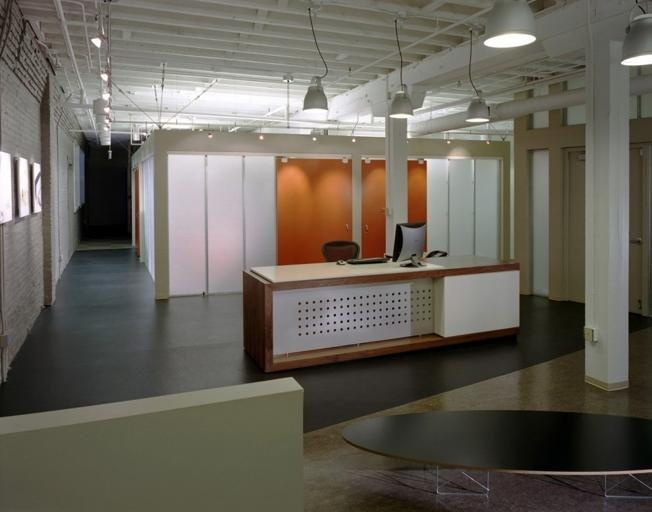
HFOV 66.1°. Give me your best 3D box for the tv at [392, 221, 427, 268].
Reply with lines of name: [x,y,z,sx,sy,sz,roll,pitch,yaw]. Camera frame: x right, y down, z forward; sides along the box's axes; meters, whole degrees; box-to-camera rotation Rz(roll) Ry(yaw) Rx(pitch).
tv: [1.077,-0.129,6.533,0.564,0.543,0.210,-5,14,-35]

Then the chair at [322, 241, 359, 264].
chair: [0.225,-0.101,7.878,0.379,0.556,0.385,-1,4,-20]
